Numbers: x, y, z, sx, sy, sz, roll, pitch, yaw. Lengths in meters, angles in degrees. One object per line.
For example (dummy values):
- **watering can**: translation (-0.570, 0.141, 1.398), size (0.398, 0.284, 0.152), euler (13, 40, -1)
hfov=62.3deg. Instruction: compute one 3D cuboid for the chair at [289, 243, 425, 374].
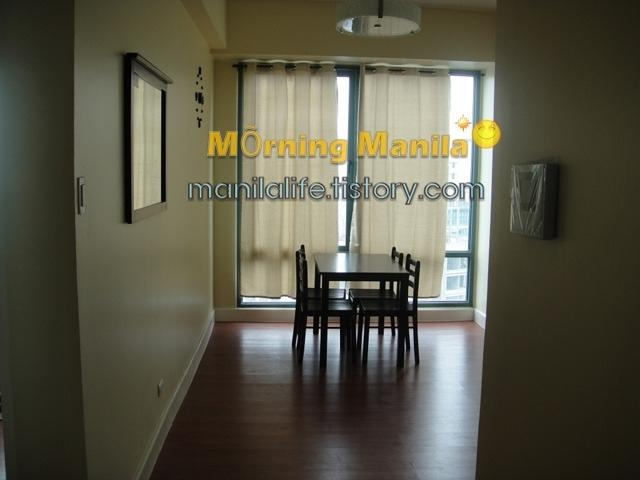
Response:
- **chair**: translation (0.295, 0.570, 4.830), size (1.086, 0.925, 1.033), euler (0, 8, -8)
